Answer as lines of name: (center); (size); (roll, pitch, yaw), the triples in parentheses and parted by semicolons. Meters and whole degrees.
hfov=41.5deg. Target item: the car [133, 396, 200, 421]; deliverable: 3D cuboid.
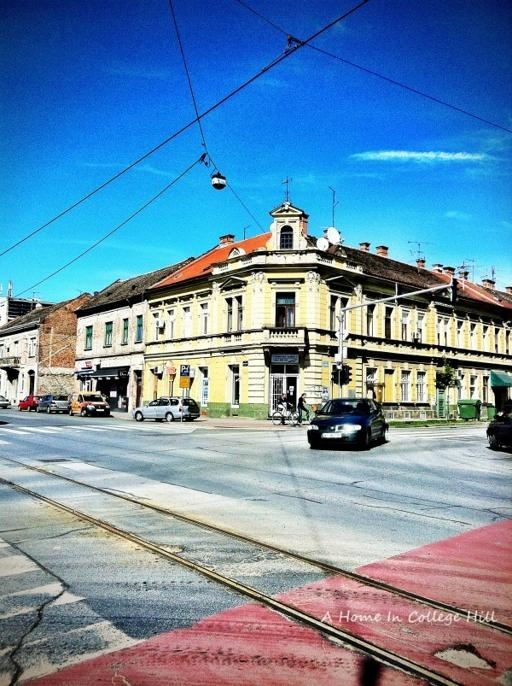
car: (-4.133, 3.129, 31.244); (2.903, 0.859, 1.299); (0, -4, 38)

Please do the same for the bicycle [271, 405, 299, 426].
bicycle: (1.176, 3.059, 28.042); (1.171, 0.661, 0.567); (-5, -7, 36)
